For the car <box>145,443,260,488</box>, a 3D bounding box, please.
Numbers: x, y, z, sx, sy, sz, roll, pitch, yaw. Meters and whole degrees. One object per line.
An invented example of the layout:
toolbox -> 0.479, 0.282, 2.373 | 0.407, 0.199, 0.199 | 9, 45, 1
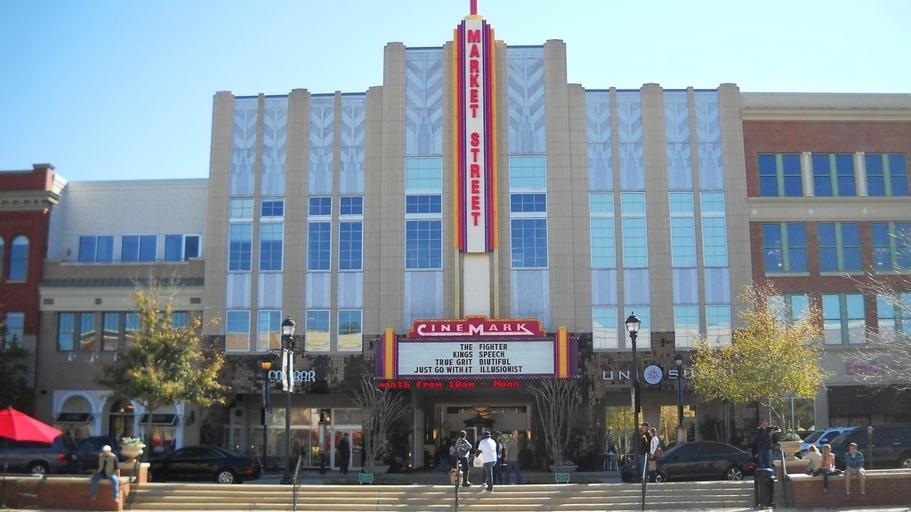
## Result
car -> -15.903, 13.526, 70.704 | 6.457, 1.882, 2.739 | 3, -13, 1

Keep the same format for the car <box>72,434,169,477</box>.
car -> -21.160, 12.696, 69.554 | 5.760, 2.892, 3.359 | -1, -2, -3
